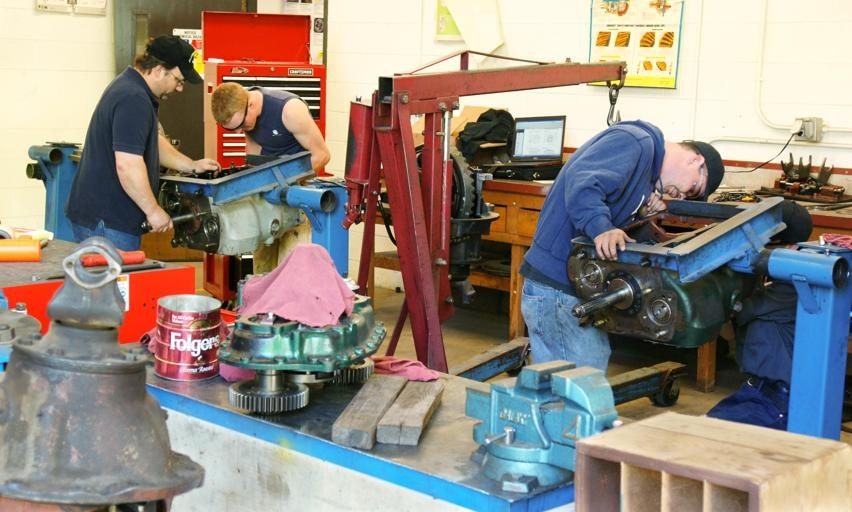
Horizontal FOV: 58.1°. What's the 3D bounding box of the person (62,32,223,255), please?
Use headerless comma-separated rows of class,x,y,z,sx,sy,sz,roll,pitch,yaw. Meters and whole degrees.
person,-1.680,-0.639,4.410,0.765,1.220,0.422,-5,15,-25

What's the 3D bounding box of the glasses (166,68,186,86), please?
glasses,-1.441,-1.034,4.450,0.024,0.078,0.074,-6,-6,11

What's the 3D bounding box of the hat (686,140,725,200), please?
hat,1.296,-0.408,3.584,0.208,0.260,0.193,7,7,-11

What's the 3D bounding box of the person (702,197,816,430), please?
person,1.431,0.257,3.324,0.406,0.742,0.529,14,33,24

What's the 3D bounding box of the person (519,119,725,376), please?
person,0.866,0.010,3.672,0.903,1.309,0.697,3,15,-37

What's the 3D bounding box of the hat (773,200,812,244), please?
hat,1.606,-0.145,3.373,0.150,0.158,0.157,-12,23,-20

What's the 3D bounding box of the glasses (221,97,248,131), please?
glasses,-1.189,-0.884,4.764,0.050,0.166,0.164,3,-8,-37

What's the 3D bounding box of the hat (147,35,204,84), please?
hat,-1.432,-1.151,4.478,0.333,0.189,0.222,24,21,-19

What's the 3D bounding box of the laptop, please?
laptop,0.745,-0.842,5.616,0.477,0.332,0.424,8,15,43
